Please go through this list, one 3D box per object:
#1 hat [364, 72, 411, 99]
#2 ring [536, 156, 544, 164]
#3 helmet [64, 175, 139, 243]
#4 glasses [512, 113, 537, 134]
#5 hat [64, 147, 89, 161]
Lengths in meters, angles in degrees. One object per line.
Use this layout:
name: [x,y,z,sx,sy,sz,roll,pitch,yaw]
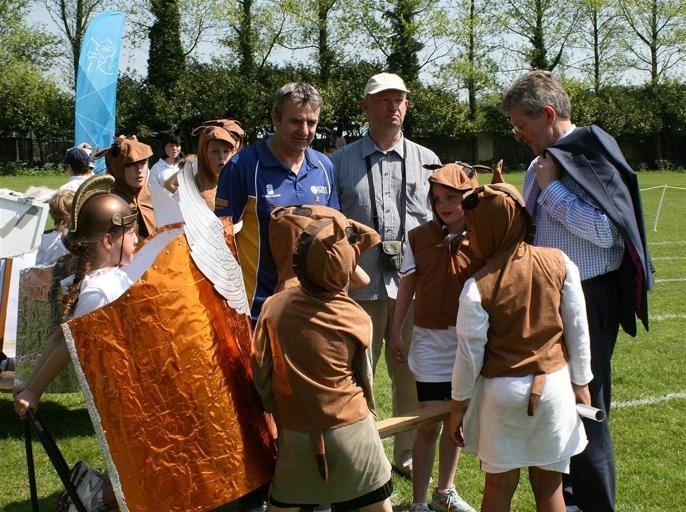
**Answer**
hat: [0.361,-1.446,6.892,0.357,0.240,0.411,1,2,0]
ring: [1.450,-0.708,6.008,0.044,0.011,0.046,-19,16,6]
helmet: [-1.669,-0.351,5.587,0.246,0.406,0.457,16,10,30]
glasses: [1.347,-1.009,6.100,0.132,0.134,0.104,40,-13,-7]
hat: [-2.920,-1.104,8.942,0.146,0.217,0.216,13,6,25]
